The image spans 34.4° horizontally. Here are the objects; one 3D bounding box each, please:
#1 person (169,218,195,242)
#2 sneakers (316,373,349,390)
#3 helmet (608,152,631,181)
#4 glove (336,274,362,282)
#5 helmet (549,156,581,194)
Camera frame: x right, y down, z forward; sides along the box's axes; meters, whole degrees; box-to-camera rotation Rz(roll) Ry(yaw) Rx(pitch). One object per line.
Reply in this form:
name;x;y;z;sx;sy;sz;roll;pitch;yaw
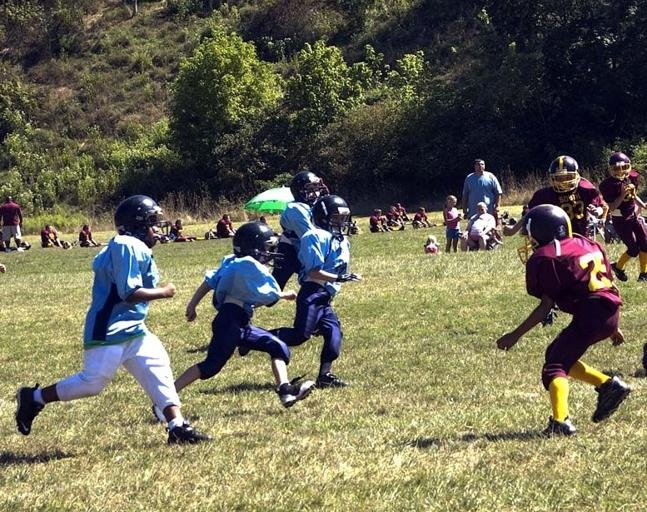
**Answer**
person;-4.940;-0.887;36.415;1.039;1.085;0.832;-2;12;-6
sneakers;0.124;2.088;17.179;0.576;0.256;0.204;0;-1;3
helmet;5.527;-1.717;19.600;0.379;0.445;0.530;-4;14;3
glove;0.382;0.358;16.871;0.261;0.100;0.175;-6;-2;21
helmet;4.016;-1.399;17.585;0.454;0.514;0.608;-1;11;13
